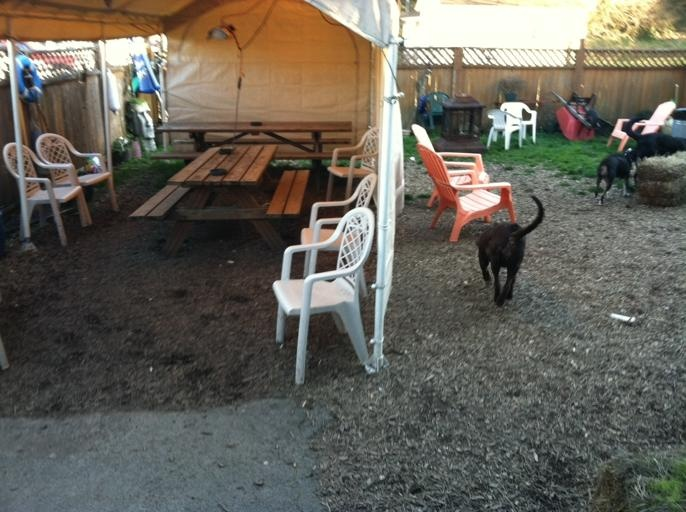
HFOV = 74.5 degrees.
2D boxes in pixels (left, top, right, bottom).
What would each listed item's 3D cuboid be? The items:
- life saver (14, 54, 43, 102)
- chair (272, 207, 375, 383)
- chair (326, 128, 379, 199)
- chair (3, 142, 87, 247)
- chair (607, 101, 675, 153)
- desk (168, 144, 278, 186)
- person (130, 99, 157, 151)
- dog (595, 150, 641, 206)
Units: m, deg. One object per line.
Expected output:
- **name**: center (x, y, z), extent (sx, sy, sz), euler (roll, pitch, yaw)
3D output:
- **life saver**: center (-4.426, -2.519, 6.379), extent (0.245, 0.631, 0.537), euler (-11, 24, -28)
- **chair**: center (-0.153, 0.353, 3.721), extent (0.832, 1.384, 1.018), euler (-2, 20, -14)
- **chair**: center (0.175, -1.408, 7.115), extent (0.786, 1.148, 0.872), euler (-3, 20, -14)
- **chair**: center (-3.925, -0.793, 5.914), extent (0.821, 1.300, 0.810), euler (6, 37, -7)
- **chair**: center (6.484, -2.878, 9.931), extent (1.047, 0.979, 1.416), euler (15, 26, 32)
- **desk**: center (-1.656, -1.311, 6.331), extent (0.715, 0.348, 1.351), euler (4, 36, 5)
- **person**: center (-4.688, -3.144, 10.796), extent (0.379, 1.177, 0.683), euler (-1, 21, -5)
- **dog**: center (4.145, -1.251, 6.919), extent (1.066, 0.660, 0.309), euler (-16, 22, -34)
